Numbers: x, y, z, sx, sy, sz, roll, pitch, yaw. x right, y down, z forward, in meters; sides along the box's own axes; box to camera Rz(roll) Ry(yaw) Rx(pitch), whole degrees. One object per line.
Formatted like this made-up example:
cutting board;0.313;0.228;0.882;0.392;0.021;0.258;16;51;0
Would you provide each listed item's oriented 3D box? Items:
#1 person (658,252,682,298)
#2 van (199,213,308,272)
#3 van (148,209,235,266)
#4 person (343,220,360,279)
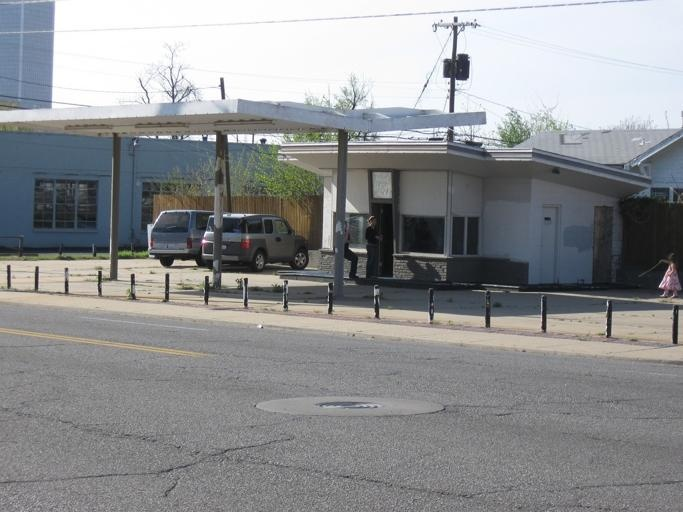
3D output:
person;10.107;0.530;28.846;0.688;1.080;3.753;3;2;18
van;-3.051;-0.520;32.608;1.701;1.566;3.366;2;6;38
van;-5.345;-0.802;34.003;1.289;1.256;2.713;1;6;25
person;0.327;-0.253;29.424;0.513;1.642;1.606;-6;5;-8
